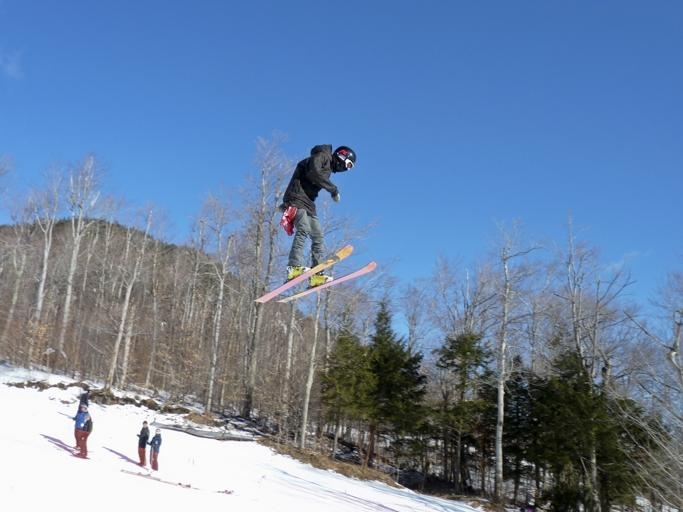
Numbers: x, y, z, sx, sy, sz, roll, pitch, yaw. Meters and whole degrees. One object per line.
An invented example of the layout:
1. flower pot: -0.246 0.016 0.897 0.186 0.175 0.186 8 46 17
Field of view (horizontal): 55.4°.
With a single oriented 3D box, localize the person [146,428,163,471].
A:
1. person: -9.321 9.546 32.661 0.681 2.122 1.547 13 -1 -12
